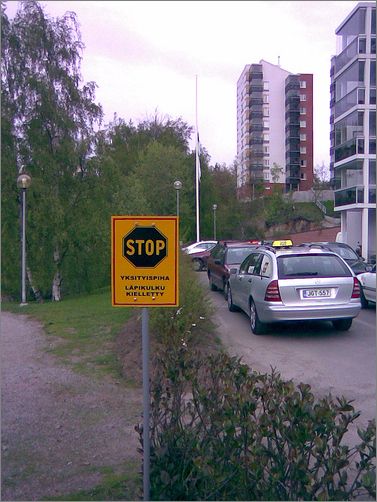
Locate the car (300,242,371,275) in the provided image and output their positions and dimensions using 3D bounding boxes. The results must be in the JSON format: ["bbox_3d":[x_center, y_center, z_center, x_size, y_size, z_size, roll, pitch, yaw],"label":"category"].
[{"bbox_3d":[4.285,0.112,16.121,0.918,1.035,2.531,-1,-1,-8],"label":"car"}]

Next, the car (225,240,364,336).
[{"bbox_3d":[1.565,0.580,9.571,0.917,1.002,2.347,0,3,-6],"label":"car"}]

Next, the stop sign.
[{"bbox_3d":[-0.239,0.058,3.172,0.346,0.671,0.062,0,2,1],"label":"stop sign"}]

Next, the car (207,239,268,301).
[{"bbox_3d":[0.998,0.413,12.024,1.036,1.246,2.516,0,-1,-8],"label":"car"}]
